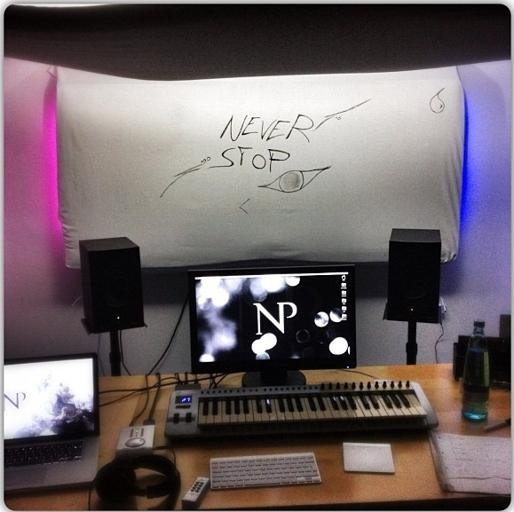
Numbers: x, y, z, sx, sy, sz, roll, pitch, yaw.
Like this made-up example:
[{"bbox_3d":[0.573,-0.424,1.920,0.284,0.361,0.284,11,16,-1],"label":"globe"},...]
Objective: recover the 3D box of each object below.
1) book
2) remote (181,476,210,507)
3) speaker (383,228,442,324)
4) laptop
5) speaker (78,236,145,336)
[{"bbox_3d":[0.619,0.581,1.425,0.244,0.079,0.243,-2,1,9],"label":"book"},{"bbox_3d":[-0.157,0.624,1.331,0.040,0.042,0.098,-1,2,25],"label":"remote"},{"bbox_3d":[0.634,0.043,2.052,0.235,0.395,0.256,-9,34,3],"label":"speaker"},{"bbox_3d":[-0.608,0.501,1.485,0.313,0.286,0.288,-3,15,-10],"label":"laptop"},{"bbox_3d":[-0.587,0.118,2.056,0.230,0.378,0.257,-3,2,-21],"label":"speaker"}]
